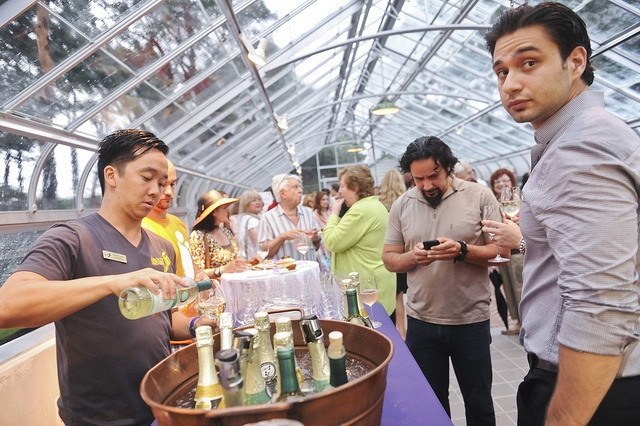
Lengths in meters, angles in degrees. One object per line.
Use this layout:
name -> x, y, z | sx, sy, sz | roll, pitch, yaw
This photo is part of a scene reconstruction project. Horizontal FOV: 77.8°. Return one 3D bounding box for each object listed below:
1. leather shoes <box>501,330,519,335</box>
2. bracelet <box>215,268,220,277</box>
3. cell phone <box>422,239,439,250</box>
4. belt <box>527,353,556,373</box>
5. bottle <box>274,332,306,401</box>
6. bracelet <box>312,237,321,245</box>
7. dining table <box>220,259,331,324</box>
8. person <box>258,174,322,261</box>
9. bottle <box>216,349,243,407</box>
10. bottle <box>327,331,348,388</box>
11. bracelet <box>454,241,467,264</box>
leather shoes -> 2.445, 1.553, 5.109 | 0.213, 0.061, 0.082 | 3, -2, 3
bracelet -> -1.084, 0.631, 4.190 | 0.038, 0.096, 0.073 | -14, -20, -5
cell phone -> 0.780, 0.225, 2.792 | 0.123, 0.067, 0.065 | -2, -4, 27
belt -> 1.086, 0.736, 1.932 | 0.081, 0.028, 0.082 | 15, -15, 5
bottle -> -0.127, 0.618, 1.603 | 0.106, 0.297, 0.234 | -1, -3, -4
bracelet -> -0.047, 0.357, 5.094 | 0.110, 0.075, 0.108 | 19, -50, -24
dining table -> -0.321, 0.496, 3.112 | 0.734, 0.477, 0.706 | -4, -14, -5
person -> -0.386, 0.055, 5.080 | 0.848, 1.119, 0.789 | 1, -3, -23
bottle -> -0.333, 0.620, 1.470 | 0.102, 0.205, 0.088 | 0, -3, -7
bottle -> 0.068, 0.584, 1.565 | 0.072, 0.253, 0.185 | -1, -3, 1
bracelet -> 1.023, 0.281, 2.837 | 0.091, 0.133, 0.136 | 1, 16, -1
